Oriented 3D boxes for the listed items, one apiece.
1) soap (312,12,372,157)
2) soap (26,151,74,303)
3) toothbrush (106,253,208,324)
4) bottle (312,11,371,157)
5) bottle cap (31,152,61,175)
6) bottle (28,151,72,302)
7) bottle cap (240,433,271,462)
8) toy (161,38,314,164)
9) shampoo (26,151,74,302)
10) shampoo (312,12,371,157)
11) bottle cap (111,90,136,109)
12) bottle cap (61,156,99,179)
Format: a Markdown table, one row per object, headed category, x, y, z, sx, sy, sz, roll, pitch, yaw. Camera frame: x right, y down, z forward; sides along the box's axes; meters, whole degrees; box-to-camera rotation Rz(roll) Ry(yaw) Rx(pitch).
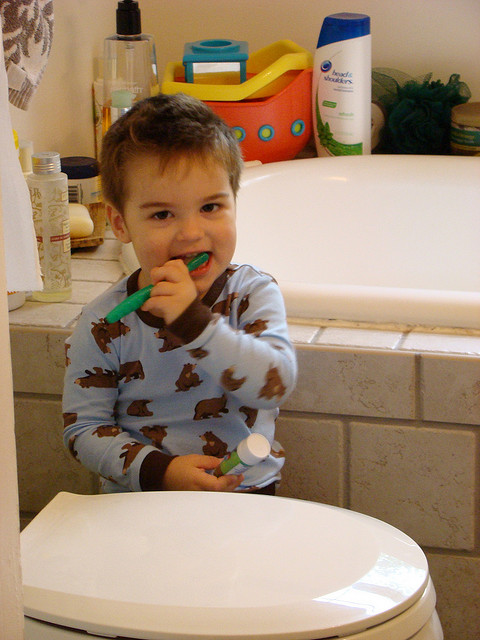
| category | x | y | z | sx | sy | sz | roll | pitch | yaw |
| --- | --- | --- | --- | --- | --- | --- | --- | --- | --- |
| soap | 0.234 | -0.516 | 1.349 | 0.121 | 0.338 | 0.099 | 14 | 34 | 29 |
| soap | -0.262 | -0.130 | 0.829 | 0.064 | 0.205 | 0.056 | -10 | 34 | -30 |
| toothbrush | -0.081 | -0.030 | 0.590 | 0.145 | 0.021 | 0.021 | -36 | 63 | -7 |
| bottle | 0.229 | -0.510 | 1.340 | 0.121 | 0.343 | 0.099 | 14 | 35 | 29 |
| bottle cap | -0.266 | -0.221 | 0.812 | 0.037 | 0.024 | 0.036 | -16 | 25 | -37 |
| bottle | -0.257 | -0.124 | 0.832 | 0.063 | 0.203 | 0.064 | -2 | 12 | 0 |
| bottle cap | 0.014 | 0.117 | 0.529 | 0.026 | 0.022 | 0.023 | -4 | 10 | -15 |
| toy | 0.008 | -0.530 | 1.372 | 0.384 | 0.331 | 0.241 | -3 | 10 | -12 |
| shampoo | -0.262 | -0.125 | 0.831 | 0.060 | 0.195 | 0.063 | 13 | 21 | 31 |
| shampoo | 0.226 | -0.517 | 1.353 | 0.142 | 0.325 | 0.129 | 11 | 22 | 34 |
| bottle cap | -0.208 | -0.386 | 1.032 | 0.034 | 0.040 | 0.080 | -3 | 9 | -10 |
| bottle cap | -0.286 | -0.275 | 1.042 | 0.057 | 0.027 | 0.057 | 20 | 28 | 36 |
